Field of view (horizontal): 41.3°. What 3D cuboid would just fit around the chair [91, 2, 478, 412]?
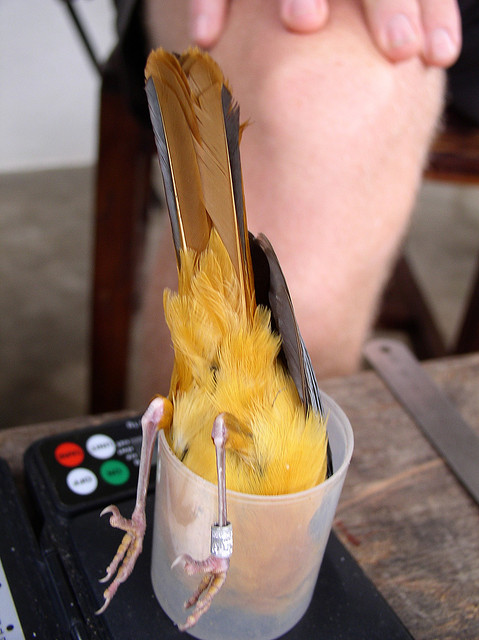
[{"bbox_3d":[0.036,-0.070,0.362,0.194,0.169,0.260,4,81,1],"label":"chair"}]

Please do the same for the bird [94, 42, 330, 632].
[{"bbox_3d":[-0.004,0.037,0.253,0.085,0.231,0.109,9,37,11],"label":"bird"}]
